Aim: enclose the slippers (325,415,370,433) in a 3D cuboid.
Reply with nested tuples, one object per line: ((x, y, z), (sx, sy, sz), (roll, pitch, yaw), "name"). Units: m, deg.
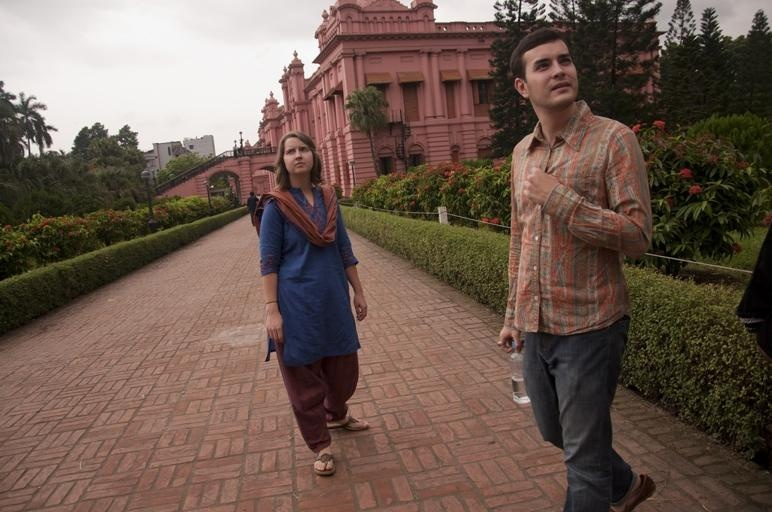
((-0.349, 1.562, 4.246), (0.318, 0.114, 0.164), (-1, 2, -7), "slippers")

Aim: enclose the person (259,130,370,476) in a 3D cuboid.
((-0.590, 0.358, 3.810), (0.605, 2.729, 0.821), (4, 14, 40), "person")
